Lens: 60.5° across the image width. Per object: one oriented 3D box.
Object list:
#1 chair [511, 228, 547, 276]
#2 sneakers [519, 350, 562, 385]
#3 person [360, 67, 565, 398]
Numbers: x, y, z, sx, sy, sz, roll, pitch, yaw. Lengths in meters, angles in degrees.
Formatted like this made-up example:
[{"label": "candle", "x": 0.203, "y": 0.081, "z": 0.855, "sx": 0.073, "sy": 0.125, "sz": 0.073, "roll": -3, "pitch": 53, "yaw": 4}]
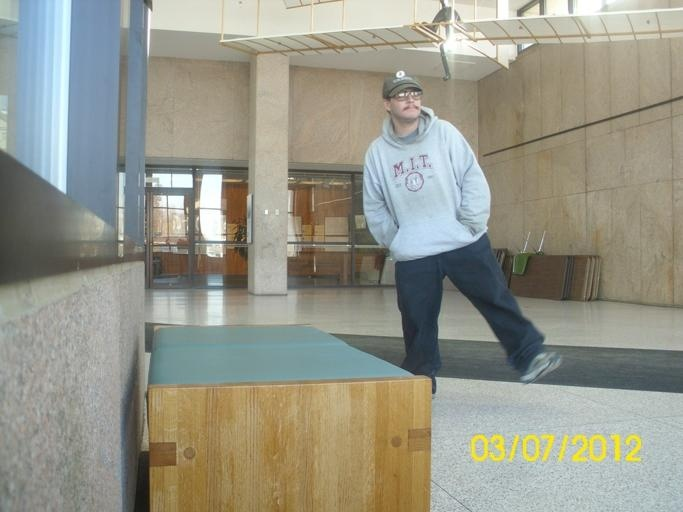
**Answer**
[{"label": "chair", "x": 3.565, "y": -0.079, "z": 11.189, "sx": 0.538, "sy": 0.881, "sz": 0.594, "roll": 2, "pitch": -2, "yaw": 6}, {"label": "sneakers", "x": 0.865, "y": 0.481, "z": 2.564, "sx": 0.170, "sy": 0.136, "sz": 0.097, "roll": -1, "pitch": -1, "yaw": 0}, {"label": "person", "x": 0.497, "y": -0.156, "z": 2.725, "sx": 0.811, "sy": 1.428, "sz": 0.317, "roll": -1, "pitch": -1, "yaw": 11}]
